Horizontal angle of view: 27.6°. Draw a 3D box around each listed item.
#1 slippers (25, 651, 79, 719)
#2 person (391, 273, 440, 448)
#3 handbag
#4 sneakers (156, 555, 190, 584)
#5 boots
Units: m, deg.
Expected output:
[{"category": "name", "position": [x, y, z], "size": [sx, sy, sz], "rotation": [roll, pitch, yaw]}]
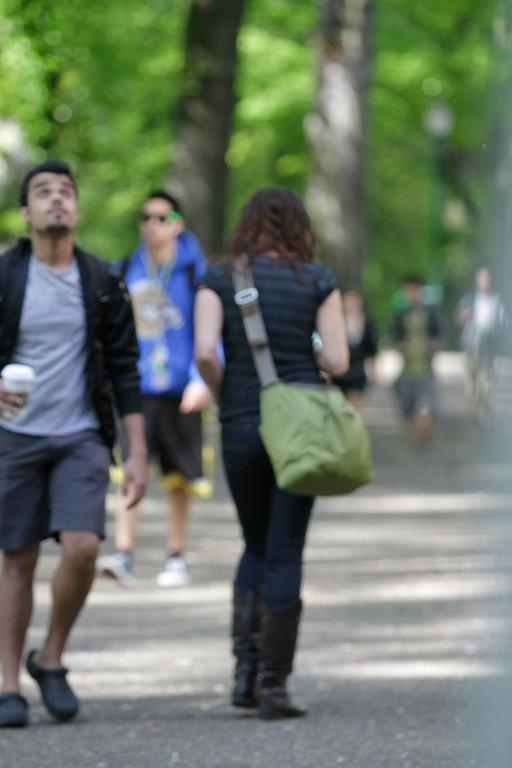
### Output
[{"category": "slippers", "position": [-0.581, 0.864, 2.975], "size": [0.100, 0.164, 0.204], "rotation": [-1, 1, -29]}, {"category": "person", "position": [1.936, -0.255, 12.627], "size": [0.623, 0.685, 1.982], "rotation": [-4, 52, 6]}, {"category": "handbag", "position": [0.188, 0.162, 2.895], "size": [0.318, 0.357, 0.218], "rotation": [4, -23, -34]}, {"category": "sneakers", "position": [-0.463, 1.043, 5.786], "size": [0.156, 0.144, 0.079], "rotation": [4, 8, 4]}, {"category": "boots", "position": [0.029, 0.801, 3.072], "size": [0.179, 0.362, 0.309], "rotation": [-1, 1, -13]}]
